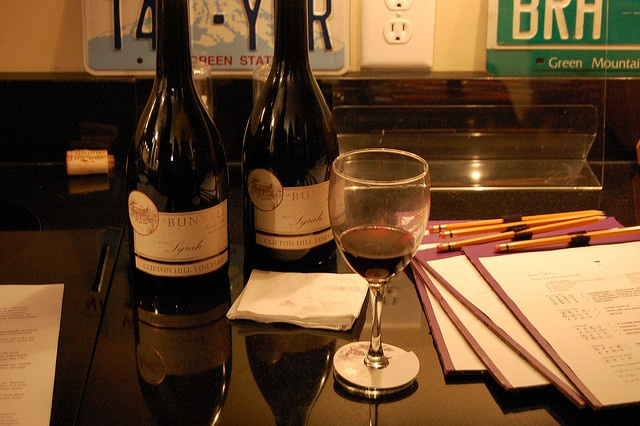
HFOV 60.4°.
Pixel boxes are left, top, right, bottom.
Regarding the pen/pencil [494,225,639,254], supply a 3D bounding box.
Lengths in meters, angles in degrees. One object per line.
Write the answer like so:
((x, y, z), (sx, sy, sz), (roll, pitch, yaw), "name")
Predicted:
((0.395, 0.043, 0.880), (0.224, 0.023, 0.023), (-5, 0, -9), "pen/pencil")

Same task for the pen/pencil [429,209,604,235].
((0.344, 0.017, 0.955), (0.265, 0.024, 0.027), (-3, -24, -10), "pen/pencil")

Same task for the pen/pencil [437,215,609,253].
((0.338, 0.037, 0.902), (0.189, 0.020, 0.019), (-11, -16, -10), "pen/pencil")

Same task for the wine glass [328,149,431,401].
((0.075, 0.061, 0.713), (0.125, 0.243, 0.228), (0, 23, 1), "wine glass")
